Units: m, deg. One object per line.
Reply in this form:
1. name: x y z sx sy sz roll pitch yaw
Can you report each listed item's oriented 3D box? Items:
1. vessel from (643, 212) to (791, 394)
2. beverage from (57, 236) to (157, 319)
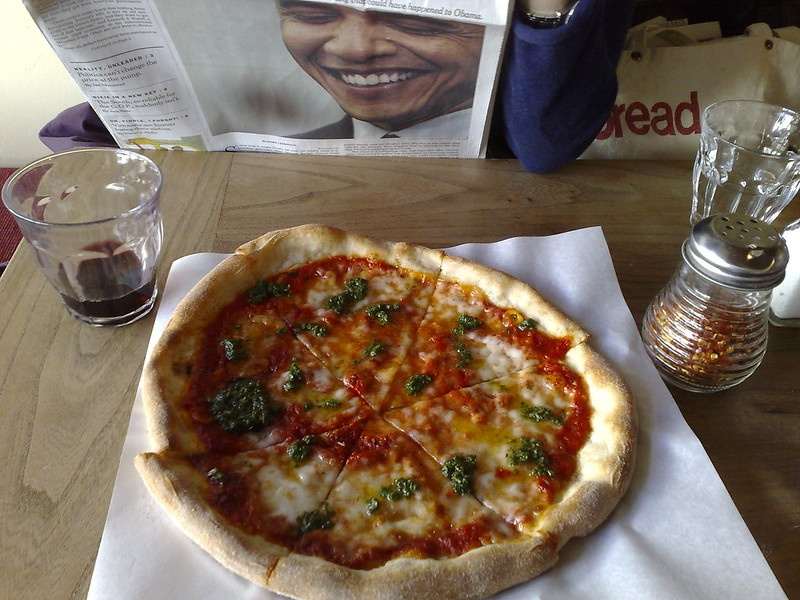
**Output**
1. vessel: 0.913 0.036 1.762 0.414 0.488 0.356 -2 45 2
2. beverage: -0.946 -0.060 1.997 0.360 0.226 0.330 -10 12 -17
